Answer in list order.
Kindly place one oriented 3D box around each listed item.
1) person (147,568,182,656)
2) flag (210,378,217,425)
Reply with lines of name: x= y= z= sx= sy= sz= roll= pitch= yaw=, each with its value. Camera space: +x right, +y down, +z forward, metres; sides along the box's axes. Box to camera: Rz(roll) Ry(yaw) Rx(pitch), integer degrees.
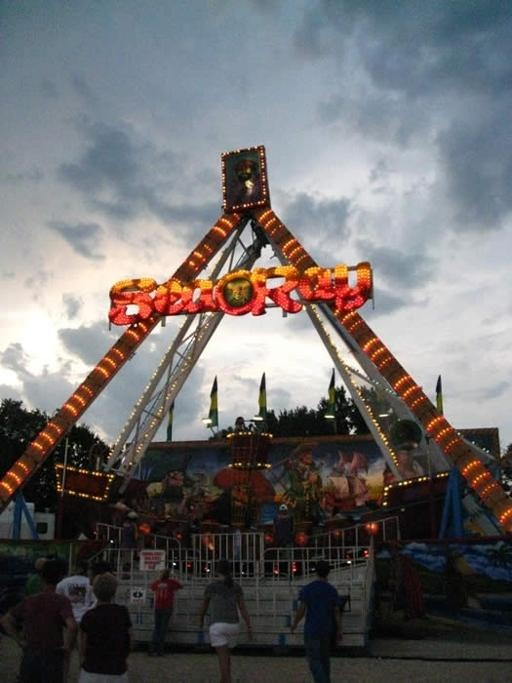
person: x=-1.632 y=4.798 z=9.868 sx=0.475 sy=1.386 sz=0.536 roll=6 pitch=-17 yaw=-14
flag: x=-2.500 y=3.767 z=33.766 sx=0.440 sy=2.779 sz=0.814 roll=5 pitch=-17 yaw=-9
